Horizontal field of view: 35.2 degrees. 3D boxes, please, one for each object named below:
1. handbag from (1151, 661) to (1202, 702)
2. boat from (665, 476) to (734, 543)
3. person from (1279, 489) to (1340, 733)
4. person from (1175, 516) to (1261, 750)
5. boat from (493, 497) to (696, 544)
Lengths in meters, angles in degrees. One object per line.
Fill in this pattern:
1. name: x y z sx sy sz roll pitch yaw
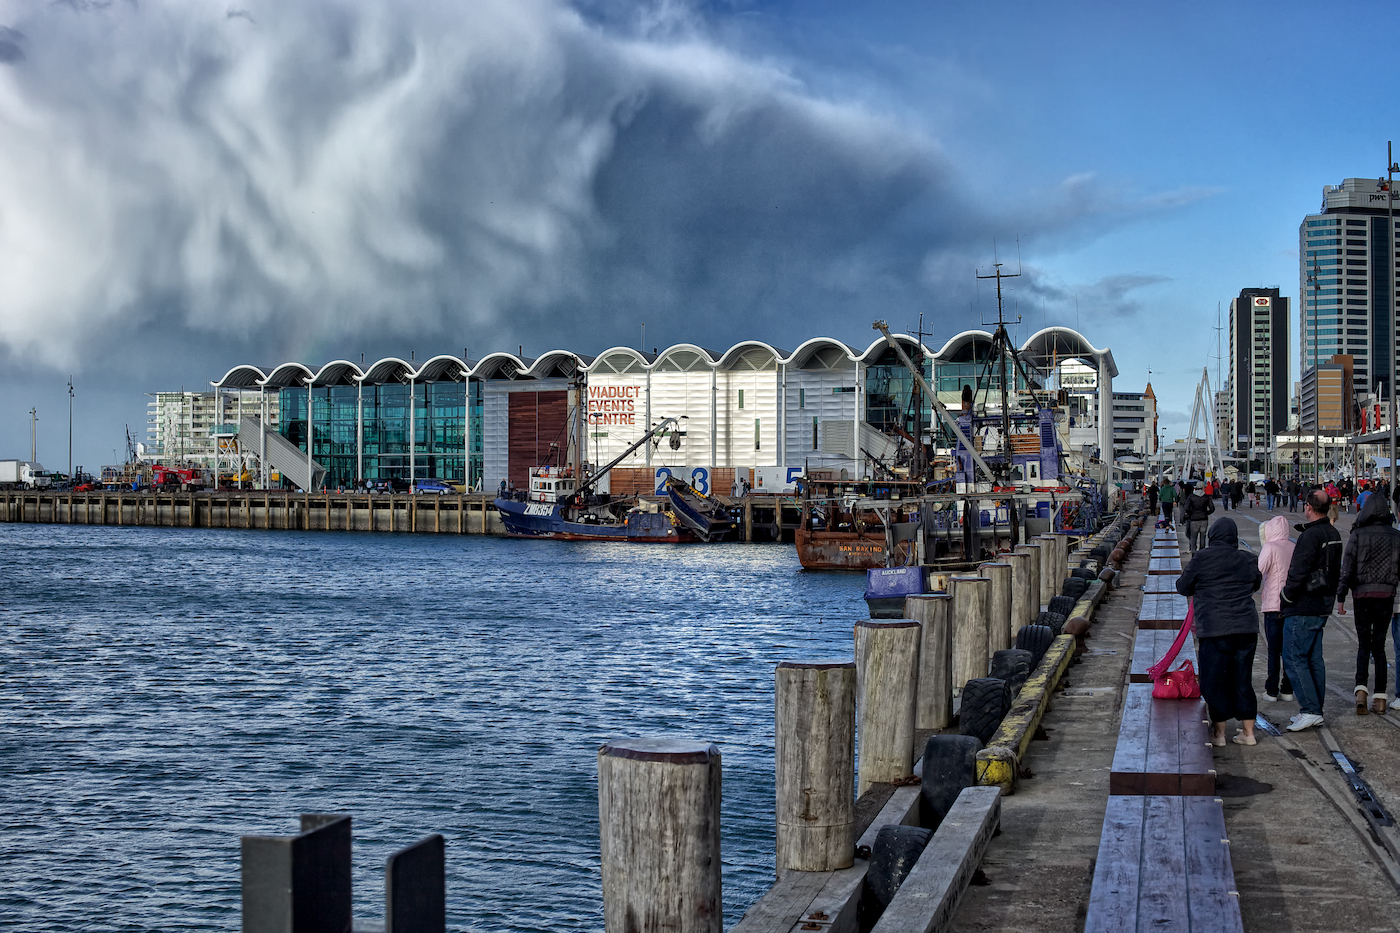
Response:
1. handbag: 7.826 3.429 35.810 0.605 0.623 0.652 -2 -2 23
2. boat: 0.035 2.039 108.000 1.791 3.064 3.994 -1 0 29
3. person: 10.037 2.313 35.911 0.960 3.780 0.867 0 0 6
4. person: 8.364 2.596 35.224 1.216 3.615 1.141 0 0 2
5. boat: -5.243 2.839 111.696 13.634 3.049 3.408 4 -2 39
